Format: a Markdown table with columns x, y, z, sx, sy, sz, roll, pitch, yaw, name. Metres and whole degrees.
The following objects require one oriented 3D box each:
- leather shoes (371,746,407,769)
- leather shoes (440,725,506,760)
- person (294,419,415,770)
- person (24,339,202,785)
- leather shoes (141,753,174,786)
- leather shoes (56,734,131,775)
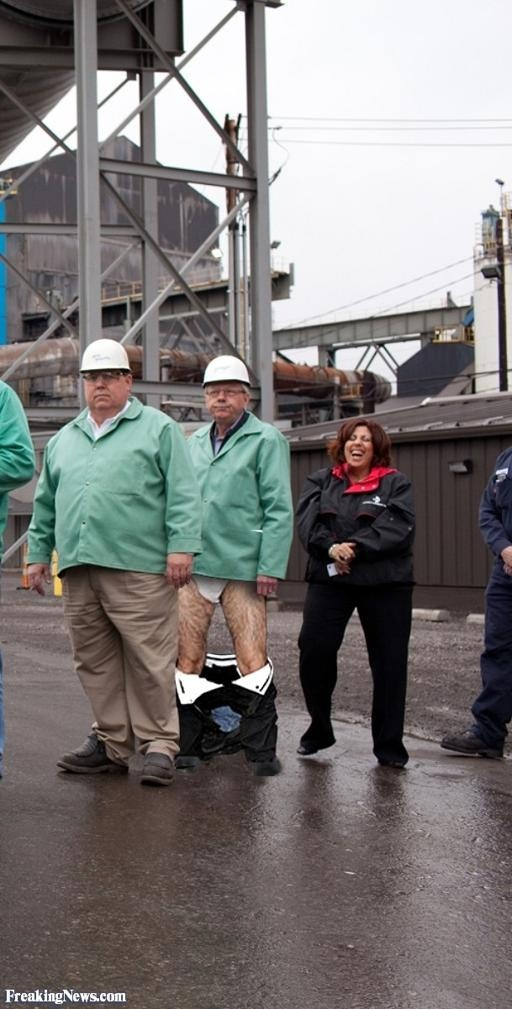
| x | y | z | sx | sy | sz | roll | pitch | yaw | name |
| --- | --- | --- | --- | --- | --- | --- | --- | --- | --- |
| 0.660 | 1.236 | 5.051 | 0.072 | 0.091 | 0.129 | 5 | -28 | -13 | leather shoes |
| 1.134 | 1.266 | 5.524 | 0.311 | 0.185 | 0.144 | 11 | -13 | 1 | leather shoes |
| 0.496 | 0.454 | 5.260 | 0.602 | 1.737 | 0.605 | -1 | 6 | 17 | person |
| -0.688 | 0.289 | 4.897 | 0.876 | 2.098 | 0.545 | 0 | 6 | 19 | person |
| -0.448 | 1.212 | 4.706 | 0.124 | 0.140 | 0.198 | -2 | 6 | 6 | leather shoes |
| -0.772 | 1.199 | 4.987 | 0.139 | 0.217 | 0.373 | -9 | -20 | 44 | leather shoes |
